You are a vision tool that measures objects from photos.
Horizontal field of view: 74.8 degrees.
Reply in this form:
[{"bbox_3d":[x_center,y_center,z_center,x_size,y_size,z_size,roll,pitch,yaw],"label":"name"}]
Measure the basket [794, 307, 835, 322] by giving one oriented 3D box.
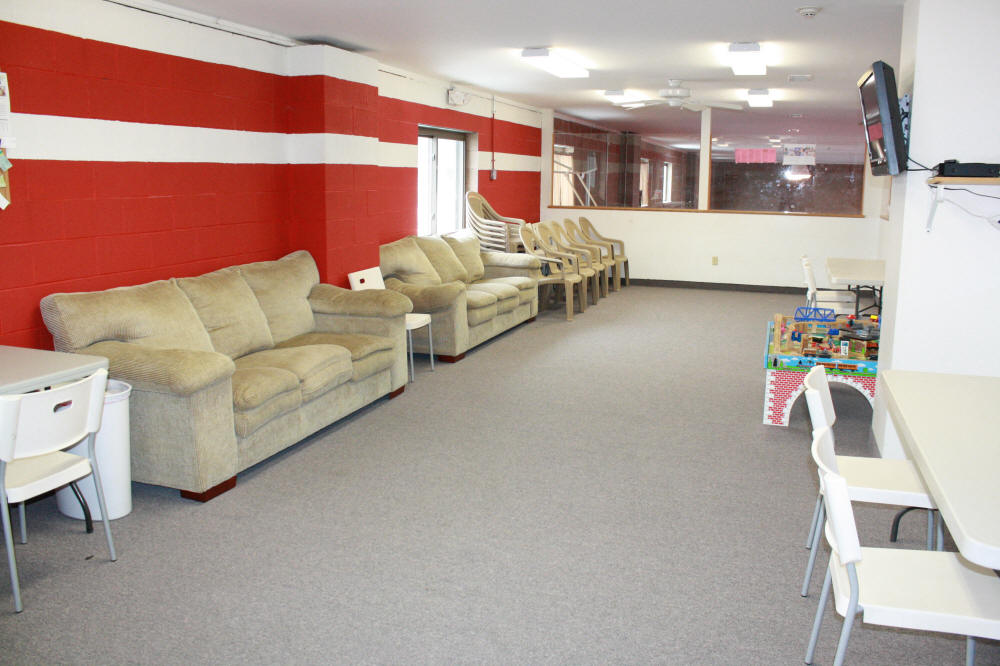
[{"bbox_3d":[2.931,-0.175,6.089,0.347,0.106,0.207,3,18,18],"label":"basket"}]
